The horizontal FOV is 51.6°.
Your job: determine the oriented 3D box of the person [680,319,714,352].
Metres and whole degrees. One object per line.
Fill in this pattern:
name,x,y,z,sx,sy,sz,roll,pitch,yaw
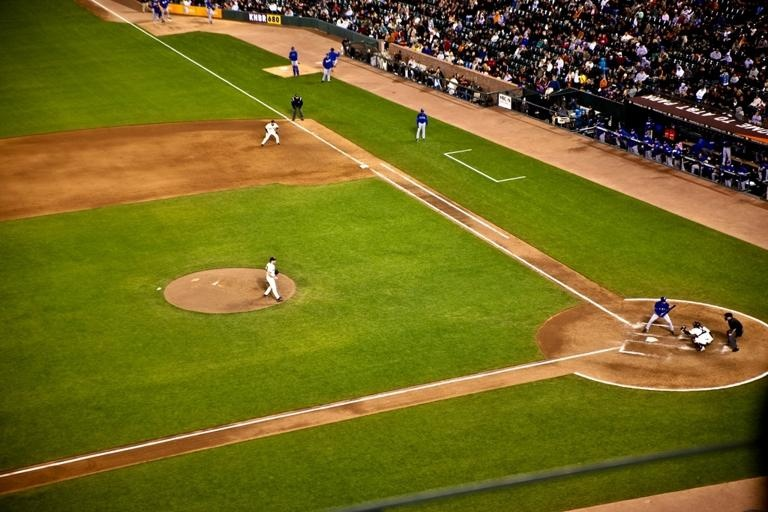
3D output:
person,15.211,3.774,38.702,1.343,0.547,1.523,-17,36,1

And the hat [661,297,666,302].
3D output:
hat,13.641,2.137,38.822,0.316,0.249,0.207,-1,32,13

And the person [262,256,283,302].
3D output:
person,-5.913,1.330,41.799,1.242,2.272,1.006,-11,57,-17
